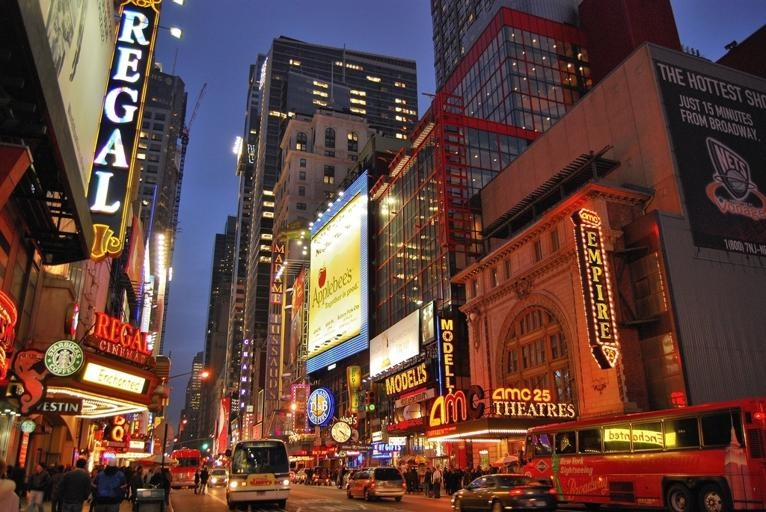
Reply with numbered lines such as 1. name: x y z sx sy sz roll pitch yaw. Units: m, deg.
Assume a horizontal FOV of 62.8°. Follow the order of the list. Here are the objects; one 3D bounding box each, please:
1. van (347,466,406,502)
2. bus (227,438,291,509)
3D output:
1. van: -0.384 15.720 43.207 2.454 2.299 6.022 13 -26 -26
2. bus: -7.421 12.978 37.801 3.179 3.748 4.546 4 -20 -14
